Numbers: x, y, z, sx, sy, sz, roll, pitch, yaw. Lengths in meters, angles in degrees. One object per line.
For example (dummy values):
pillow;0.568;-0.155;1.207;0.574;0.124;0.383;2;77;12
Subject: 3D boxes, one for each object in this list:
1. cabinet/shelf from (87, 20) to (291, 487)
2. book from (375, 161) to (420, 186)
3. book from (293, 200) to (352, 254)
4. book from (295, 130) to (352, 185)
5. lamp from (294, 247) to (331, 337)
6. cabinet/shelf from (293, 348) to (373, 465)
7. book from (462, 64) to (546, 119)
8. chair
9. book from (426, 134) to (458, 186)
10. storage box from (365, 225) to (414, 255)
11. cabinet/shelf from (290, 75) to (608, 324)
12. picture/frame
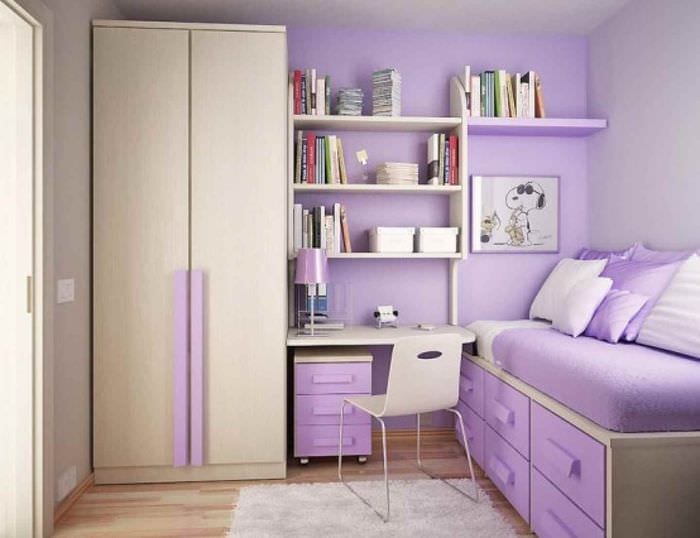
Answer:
cabinet/shelf;-0.948;-0.085;3.463;1.128;2.622;0.506;-1;12;-3
book;0.315;-0.623;3.901;0.184;0.097;0.188;0;1;-6
book;-0.198;-0.256;3.872;0.364;0.318;0.163;-1;12;-5
book;-0.230;-0.638;3.957;0.424;0.459;0.300;0;-1;-17
lamp;-0.248;0.134;3.751;0.198;0.565;0.339;-1;12;-3
cabinet/shelf;-0.081;0.850;3.819;0.519;0.828;0.614;0;-3;-7
book;1.025;-1.177;3.983;0.546;0.322;0.136;-1;12;-6
chair;0.273;0.715;3.093;0.511;0.760;0.562;-9;-23;30
book;0.611;-0.722;3.930;0.218;0.327;0.173;4;13;17
storage box;0.269;-0.188;3.942;0.319;0.183;0.253;1;13;6
cabinet/shelf;0.707;-0.433;4.097;2.244;1.848;0.515;-1;-2;5
picture/frame;1.147;-0.393;4.173;0.509;0.470;0.020;0;-1;-1
